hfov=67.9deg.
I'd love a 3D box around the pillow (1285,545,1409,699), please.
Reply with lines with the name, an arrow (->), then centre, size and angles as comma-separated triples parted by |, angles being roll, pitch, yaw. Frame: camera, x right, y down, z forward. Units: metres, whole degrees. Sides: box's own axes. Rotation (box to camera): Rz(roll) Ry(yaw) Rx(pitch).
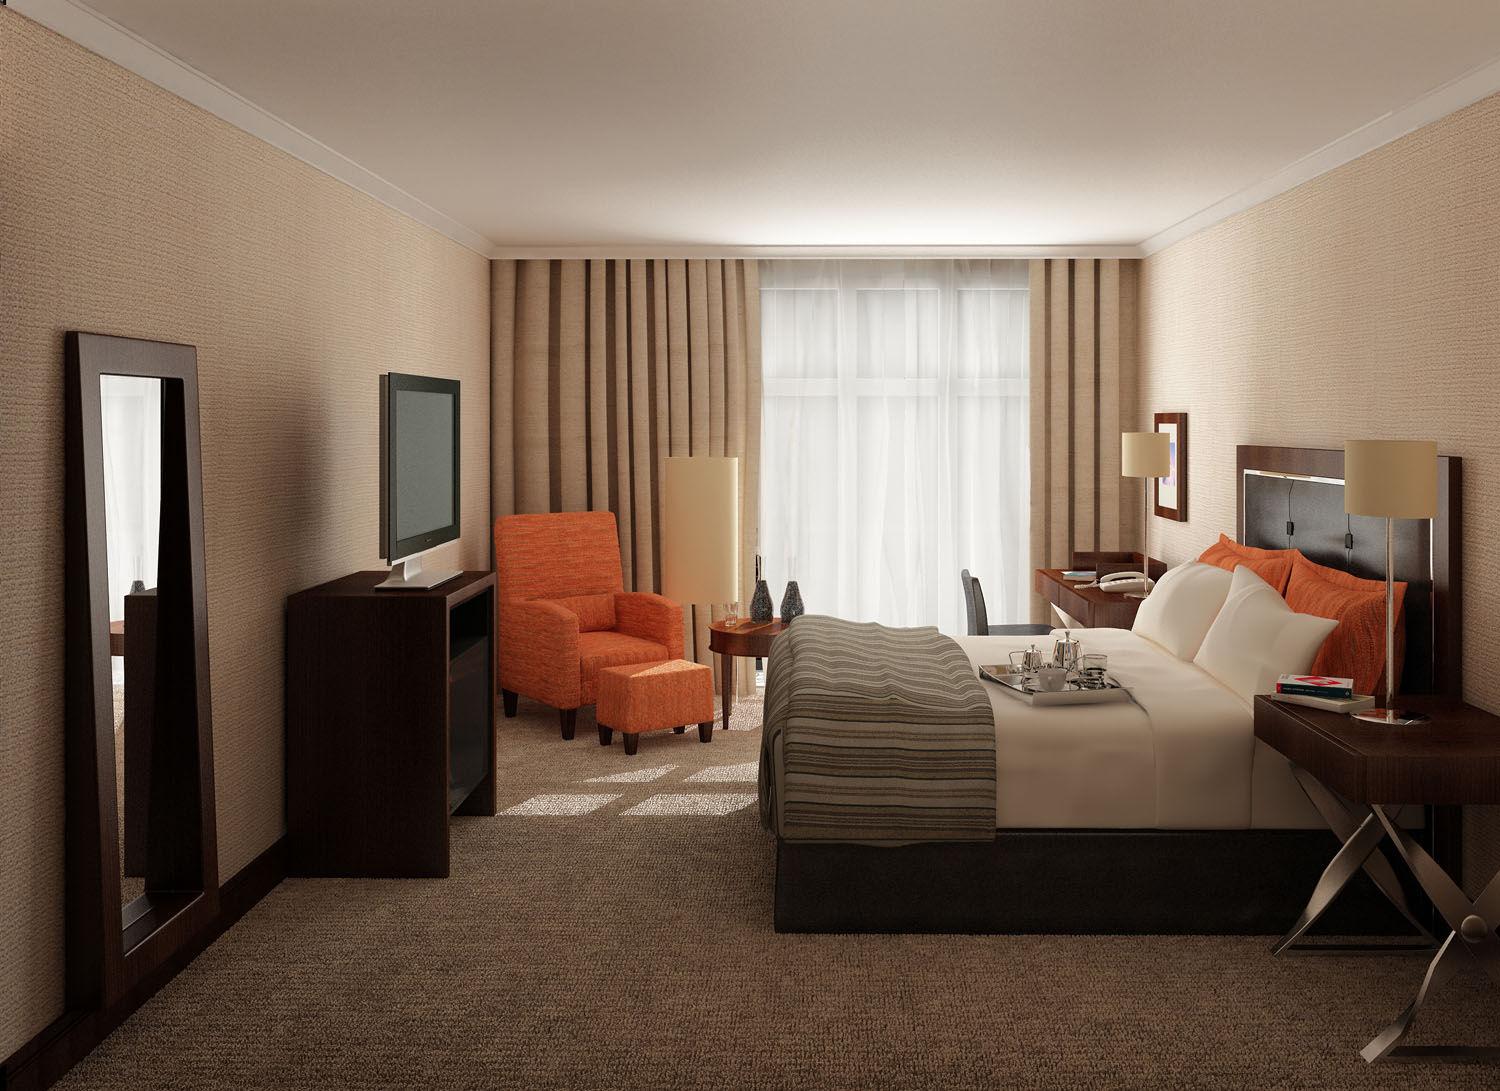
pillow -> 2.371, 0.330, 4.468 | 0.161, 0.401, 0.446 | -20, 17, -16

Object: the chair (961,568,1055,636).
chair -> 1.512, 0.293, 6.604 | 0.442, 0.598, 0.409 | -1, 4, 5

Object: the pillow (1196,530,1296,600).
pillow -> 2.340, 0.062, 5.282 | 0.095, 0.206, 0.555 | 22, 4, 3

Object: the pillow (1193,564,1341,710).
pillow -> 2.021, 0.362, 4.435 | 0.337, 0.333, 0.814 | -23, 8, 5

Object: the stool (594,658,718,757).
stool -> -0.501, 0.901, 6.199 | 0.505, 0.372, 0.370 | -3, -4, -27

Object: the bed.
bed -> 1.609, 0.638, 4.680 | 1.948, 1.299, 2.009 | 0, 3, 4

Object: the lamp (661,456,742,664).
lamp -> -0.284, 0.120, 6.808 | 0.431, 1.370, 0.727 | 1, 11, 5

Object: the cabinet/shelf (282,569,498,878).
cabinet/shelf -> -1.590, 0.766, 5.173 | 0.640, 1.177, 1.245 | 1, 1, -3

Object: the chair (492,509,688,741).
chair -> -0.933, 0.437, 6.568 | 1.061, 1.255, 1.023 | 1, 2, 36

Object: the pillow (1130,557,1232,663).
pillow -> 1.999, 0.281, 5.152 | 0.166, 0.365, 0.578 | 21, 1, 0

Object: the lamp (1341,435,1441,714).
lamp -> 2.300, 0.112, 4.069 | 0.290, 1.014, 0.786 | 7, 13, 32
